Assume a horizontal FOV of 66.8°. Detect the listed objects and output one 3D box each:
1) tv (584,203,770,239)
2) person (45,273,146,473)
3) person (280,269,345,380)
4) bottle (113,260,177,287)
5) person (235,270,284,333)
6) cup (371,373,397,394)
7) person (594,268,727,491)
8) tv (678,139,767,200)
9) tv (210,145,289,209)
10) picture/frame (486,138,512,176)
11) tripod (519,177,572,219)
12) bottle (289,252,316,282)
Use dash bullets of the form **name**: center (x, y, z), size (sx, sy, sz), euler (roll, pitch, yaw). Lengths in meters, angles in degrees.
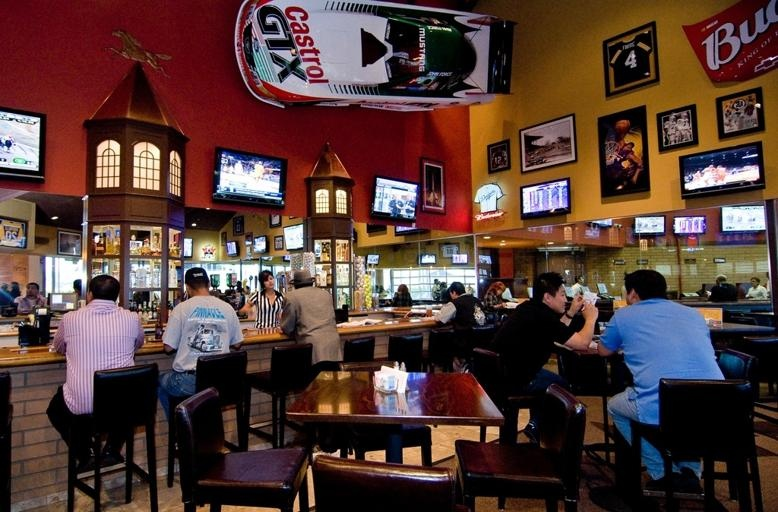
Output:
- **tv**: center (4.504, -0.471, 9.360), size (2.526, 0.461, 0.124), euler (-3, -2, 41)
- **person**: center (-3.005, 1.205, 6.017), size (0.909, 2.025, 0.576), euler (-1, -2, -23)
- **person**: center (-0.948, 0.861, 7.198), size (0.617, 0.839, 1.391), euler (-11, -27, -7)
- **bottle**: center (-3.369, 0.239, 8.383), size (0.465, 0.317, 0.452), euler (-1, 0, 0)
- **person**: center (-2.196, 0.762, 10.004), size (0.775, 1.424, 0.505), euler (1, -32, -12)
- **cup**: center (-0.048, 1.163, 5.636), size (0.275, 0.177, 0.157), euler (-2, -6, 37)
- **person**: center (2.622, 1.199, 5.807), size (1.083, 1.482, 0.582), euler (-3, -2, 23)
- **tv**: center (5.021, -1.295, 8.822), size (0.992, 0.659, 0.101), euler (-4, -4, 43)
- **tv**: center (-2.255, -1.231, 9.260), size (1.100, 0.732, 0.149), euler (2, 4, -31)
- **picture/frame**: center (2.160, -1.953, 11.536), size (0.067, 0.848, 0.834), euler (1, 0, -38)
- **tripod**: center (2.872, -1.055, 10.741), size (0.086, 0.565, 0.840), euler (4, -4, -43)
- **bottle**: center (-1.321, 0.162, 9.201), size (0.464, 0.461, 0.467), euler (0, 0, 9)
